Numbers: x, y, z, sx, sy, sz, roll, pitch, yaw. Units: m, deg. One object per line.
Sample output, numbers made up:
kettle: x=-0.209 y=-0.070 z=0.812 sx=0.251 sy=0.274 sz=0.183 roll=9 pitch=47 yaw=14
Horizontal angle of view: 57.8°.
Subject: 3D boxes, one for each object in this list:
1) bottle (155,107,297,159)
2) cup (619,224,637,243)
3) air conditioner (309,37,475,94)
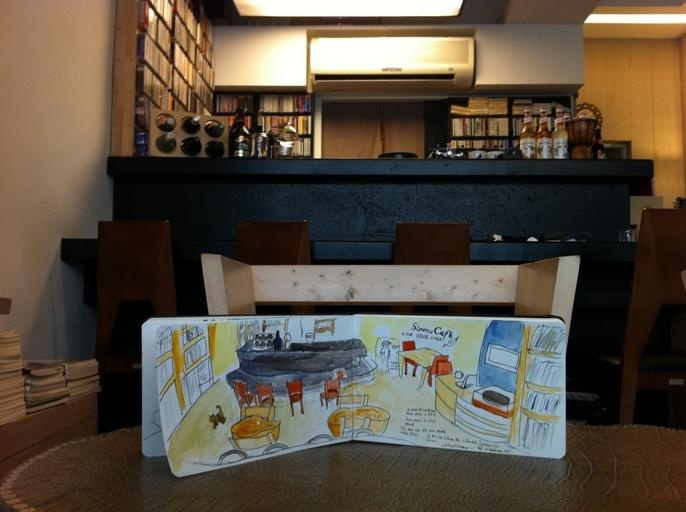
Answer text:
bottle: x=-0.798 y=-0.693 z=3.485 sx=0.554 sy=0.251 sz=0.154 roll=-1 pitch=12 yaw=-6
cup: x=1.374 y=-0.112 z=2.999 sx=0.076 sy=0.093 sz=0.100 roll=1 pitch=-7 yaw=-3
air conditioner: x=0.458 y=-1.830 z=6.247 sx=1.355 sy=0.505 sz=0.472 roll=-1 pitch=5 yaw=0
